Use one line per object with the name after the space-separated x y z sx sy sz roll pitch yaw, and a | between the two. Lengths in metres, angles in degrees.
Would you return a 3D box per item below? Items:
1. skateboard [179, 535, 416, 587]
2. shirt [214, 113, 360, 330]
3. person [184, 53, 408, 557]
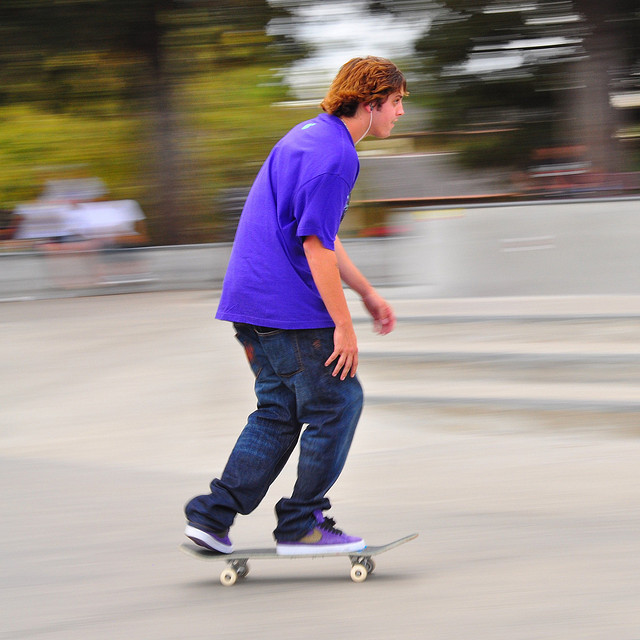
0.051 0.876 3.312 1.133 0.138 0.255 -1 -3 1 | skateboard
-0.124 -0.330 3.134 0.526 0.728 0.283 -1 18 10 | shirt
-0.104 -0.047 3.215 0.725 1.781 0.708 0 18 13 | person
